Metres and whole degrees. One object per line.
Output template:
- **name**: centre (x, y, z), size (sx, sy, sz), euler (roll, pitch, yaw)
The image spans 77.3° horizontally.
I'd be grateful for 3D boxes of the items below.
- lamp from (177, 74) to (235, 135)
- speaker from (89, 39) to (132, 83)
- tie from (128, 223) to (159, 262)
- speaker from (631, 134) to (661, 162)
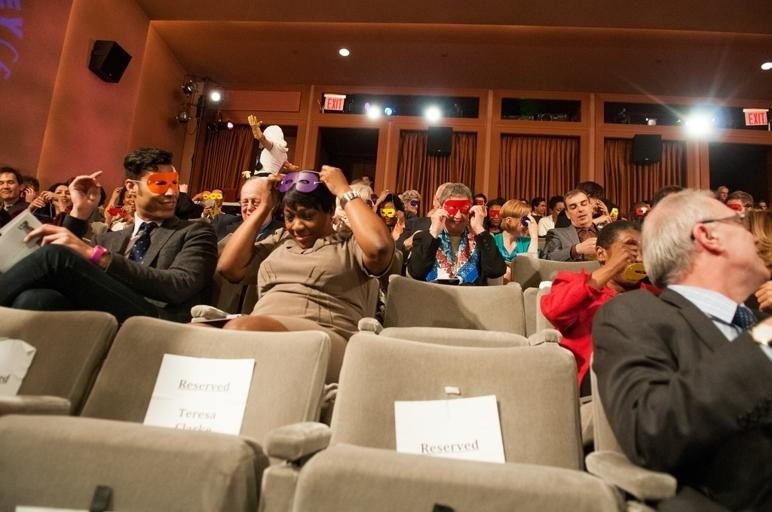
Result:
- **lamp**: centre (-3.215, -2.630, 8.327), size (0.483, 0.618, 0.656), euler (12, -4, 28)
- **speaker**: centre (-3.632, -2.527, 6.366), size (0.365, 0.421, 0.467), euler (9, -8, 1)
- **tie**: centre (-1.281, -0.087, 2.550), size (0.074, 0.260, 0.067), euler (22, -46, -10)
- **speaker**: centre (4.066, -1.678, 7.688), size (0.509, 0.517, 0.387), euler (3, 10, 15)
